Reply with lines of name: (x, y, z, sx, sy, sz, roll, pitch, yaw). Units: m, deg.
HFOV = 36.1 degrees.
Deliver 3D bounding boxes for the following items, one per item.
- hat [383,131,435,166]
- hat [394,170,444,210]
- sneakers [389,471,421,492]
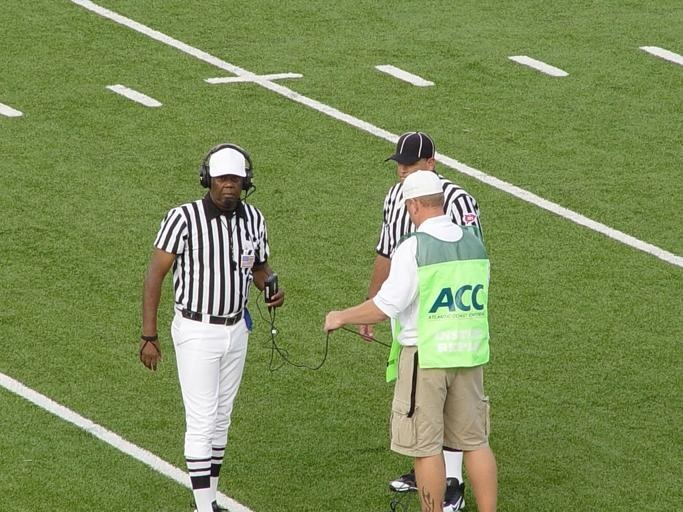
hat: (0.553, -0.916, 8.648, 0.346, 0.196, 0.229, -9, 20, -29)
hat: (0.623, -0.557, 8.025, 0.300, 0.239, 0.250, 2, 40, -1)
sneakers: (0.523, 1.893, 8.736, 0.309, 0.117, 0.146, 2, 85, 7)
